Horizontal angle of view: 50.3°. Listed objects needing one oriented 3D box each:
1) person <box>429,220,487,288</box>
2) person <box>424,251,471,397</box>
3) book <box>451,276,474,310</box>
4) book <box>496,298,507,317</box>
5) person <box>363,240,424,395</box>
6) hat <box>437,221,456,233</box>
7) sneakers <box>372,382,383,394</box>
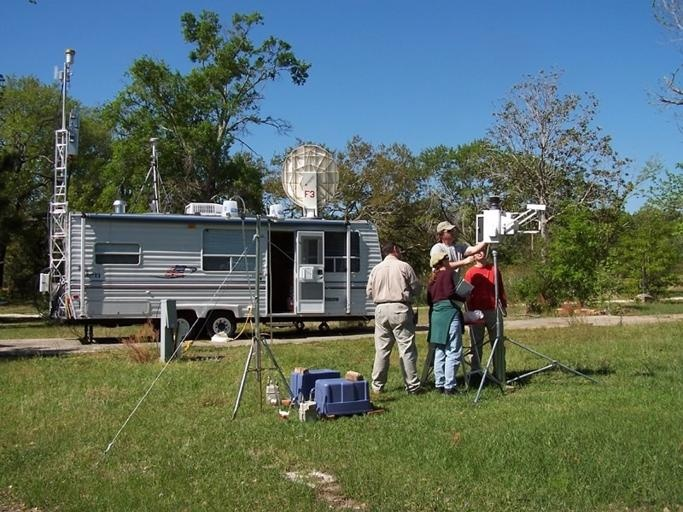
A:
[{"bbox_3d":[1.727,-0.188,10.803,0.820,1.220,0.586,-7,18,14],"label":"person"},{"bbox_3d":[1.483,0.953,10.254,0.567,1.941,0.394,1,5,24],"label":"person"},{"bbox_3d":[1.754,0.538,10.340,0.351,0.398,0.091,-29,-23,19],"label":"book"},{"bbox_3d":[2.367,0.764,10.771,0.061,0.239,0.227,-19,-13,33],"label":"book"},{"bbox_3d":[0.762,0.887,10.477,0.749,2.109,0.623,-1,5,2],"label":"person"},{"bbox_3d":[1.531,-0.421,10.666,0.221,0.128,0.181,-6,-2,17],"label":"hat"},{"bbox_3d":[0.525,1.896,10.440,0.132,0.120,0.127,7,-5,13],"label":"sneakers"}]
